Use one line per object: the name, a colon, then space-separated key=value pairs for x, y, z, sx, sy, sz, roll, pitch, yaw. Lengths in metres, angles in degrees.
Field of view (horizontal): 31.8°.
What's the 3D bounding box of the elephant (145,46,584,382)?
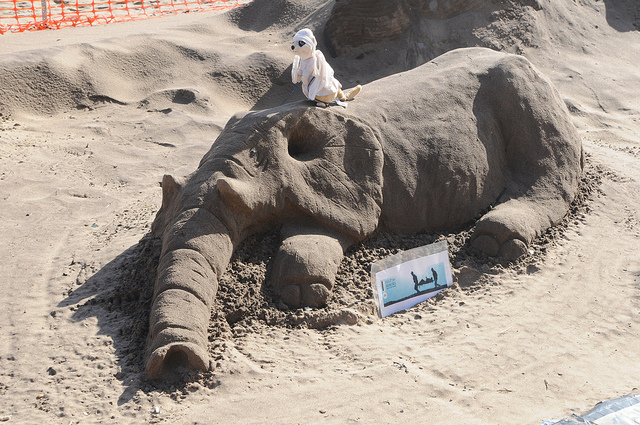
elephant: x=0.439 y=-0.548 z=17.773 sx=8.987 sy=2.708 sz=4.912 roll=-19 pitch=25 yaw=-36
